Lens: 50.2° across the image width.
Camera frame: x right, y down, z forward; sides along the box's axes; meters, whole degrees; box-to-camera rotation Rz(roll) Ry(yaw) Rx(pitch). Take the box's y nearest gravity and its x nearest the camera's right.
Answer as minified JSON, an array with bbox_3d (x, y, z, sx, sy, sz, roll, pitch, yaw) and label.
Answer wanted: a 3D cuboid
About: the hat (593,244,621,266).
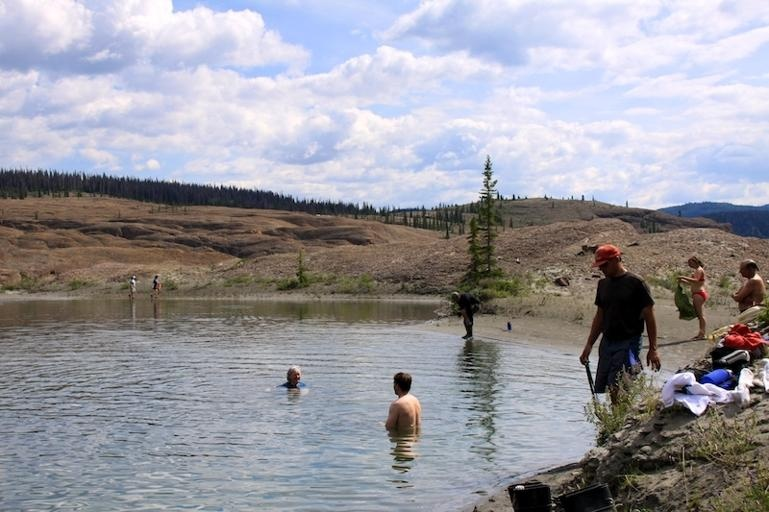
[{"bbox_3d":[5.214,-0.032,19.468,0.689,0.335,0.448,-19,11,0],"label":"hat"}]

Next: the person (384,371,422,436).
[{"bbox_3d":[0.520,3.970,22.430,0.995,1.561,1.406,1,0,3],"label":"person"}]

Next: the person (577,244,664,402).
[{"bbox_3d":[5.590,1.607,19.512,1.636,3.799,0.838,2,0,17],"label":"person"}]
